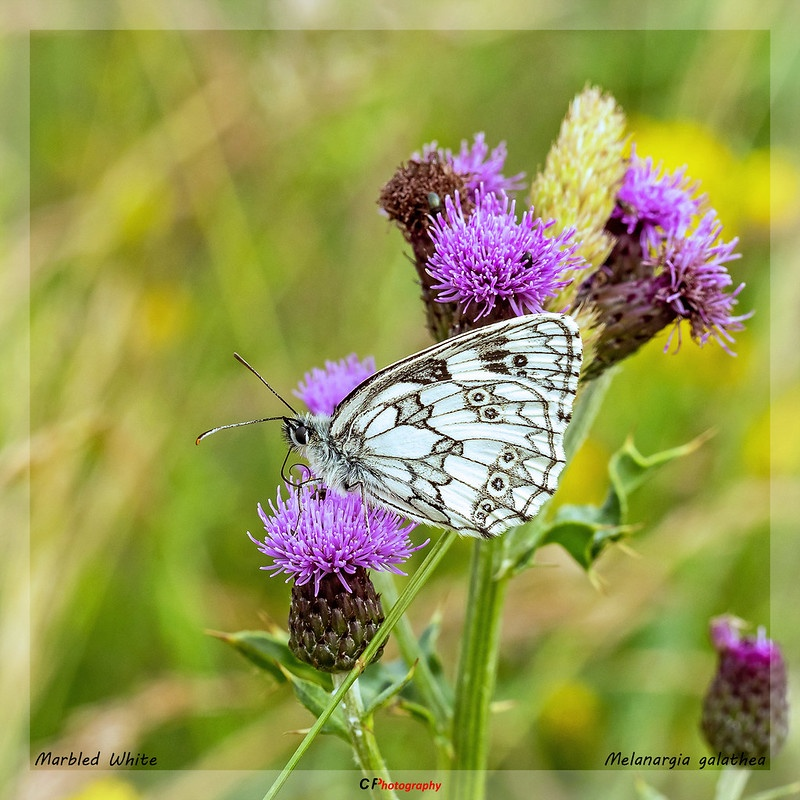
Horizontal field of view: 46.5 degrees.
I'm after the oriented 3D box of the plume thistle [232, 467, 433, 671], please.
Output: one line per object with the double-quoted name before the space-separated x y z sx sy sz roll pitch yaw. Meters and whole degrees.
"plume thistle" -0.165 0.505 2.826 0.456 0.575 0.177 -15 -15 -20
